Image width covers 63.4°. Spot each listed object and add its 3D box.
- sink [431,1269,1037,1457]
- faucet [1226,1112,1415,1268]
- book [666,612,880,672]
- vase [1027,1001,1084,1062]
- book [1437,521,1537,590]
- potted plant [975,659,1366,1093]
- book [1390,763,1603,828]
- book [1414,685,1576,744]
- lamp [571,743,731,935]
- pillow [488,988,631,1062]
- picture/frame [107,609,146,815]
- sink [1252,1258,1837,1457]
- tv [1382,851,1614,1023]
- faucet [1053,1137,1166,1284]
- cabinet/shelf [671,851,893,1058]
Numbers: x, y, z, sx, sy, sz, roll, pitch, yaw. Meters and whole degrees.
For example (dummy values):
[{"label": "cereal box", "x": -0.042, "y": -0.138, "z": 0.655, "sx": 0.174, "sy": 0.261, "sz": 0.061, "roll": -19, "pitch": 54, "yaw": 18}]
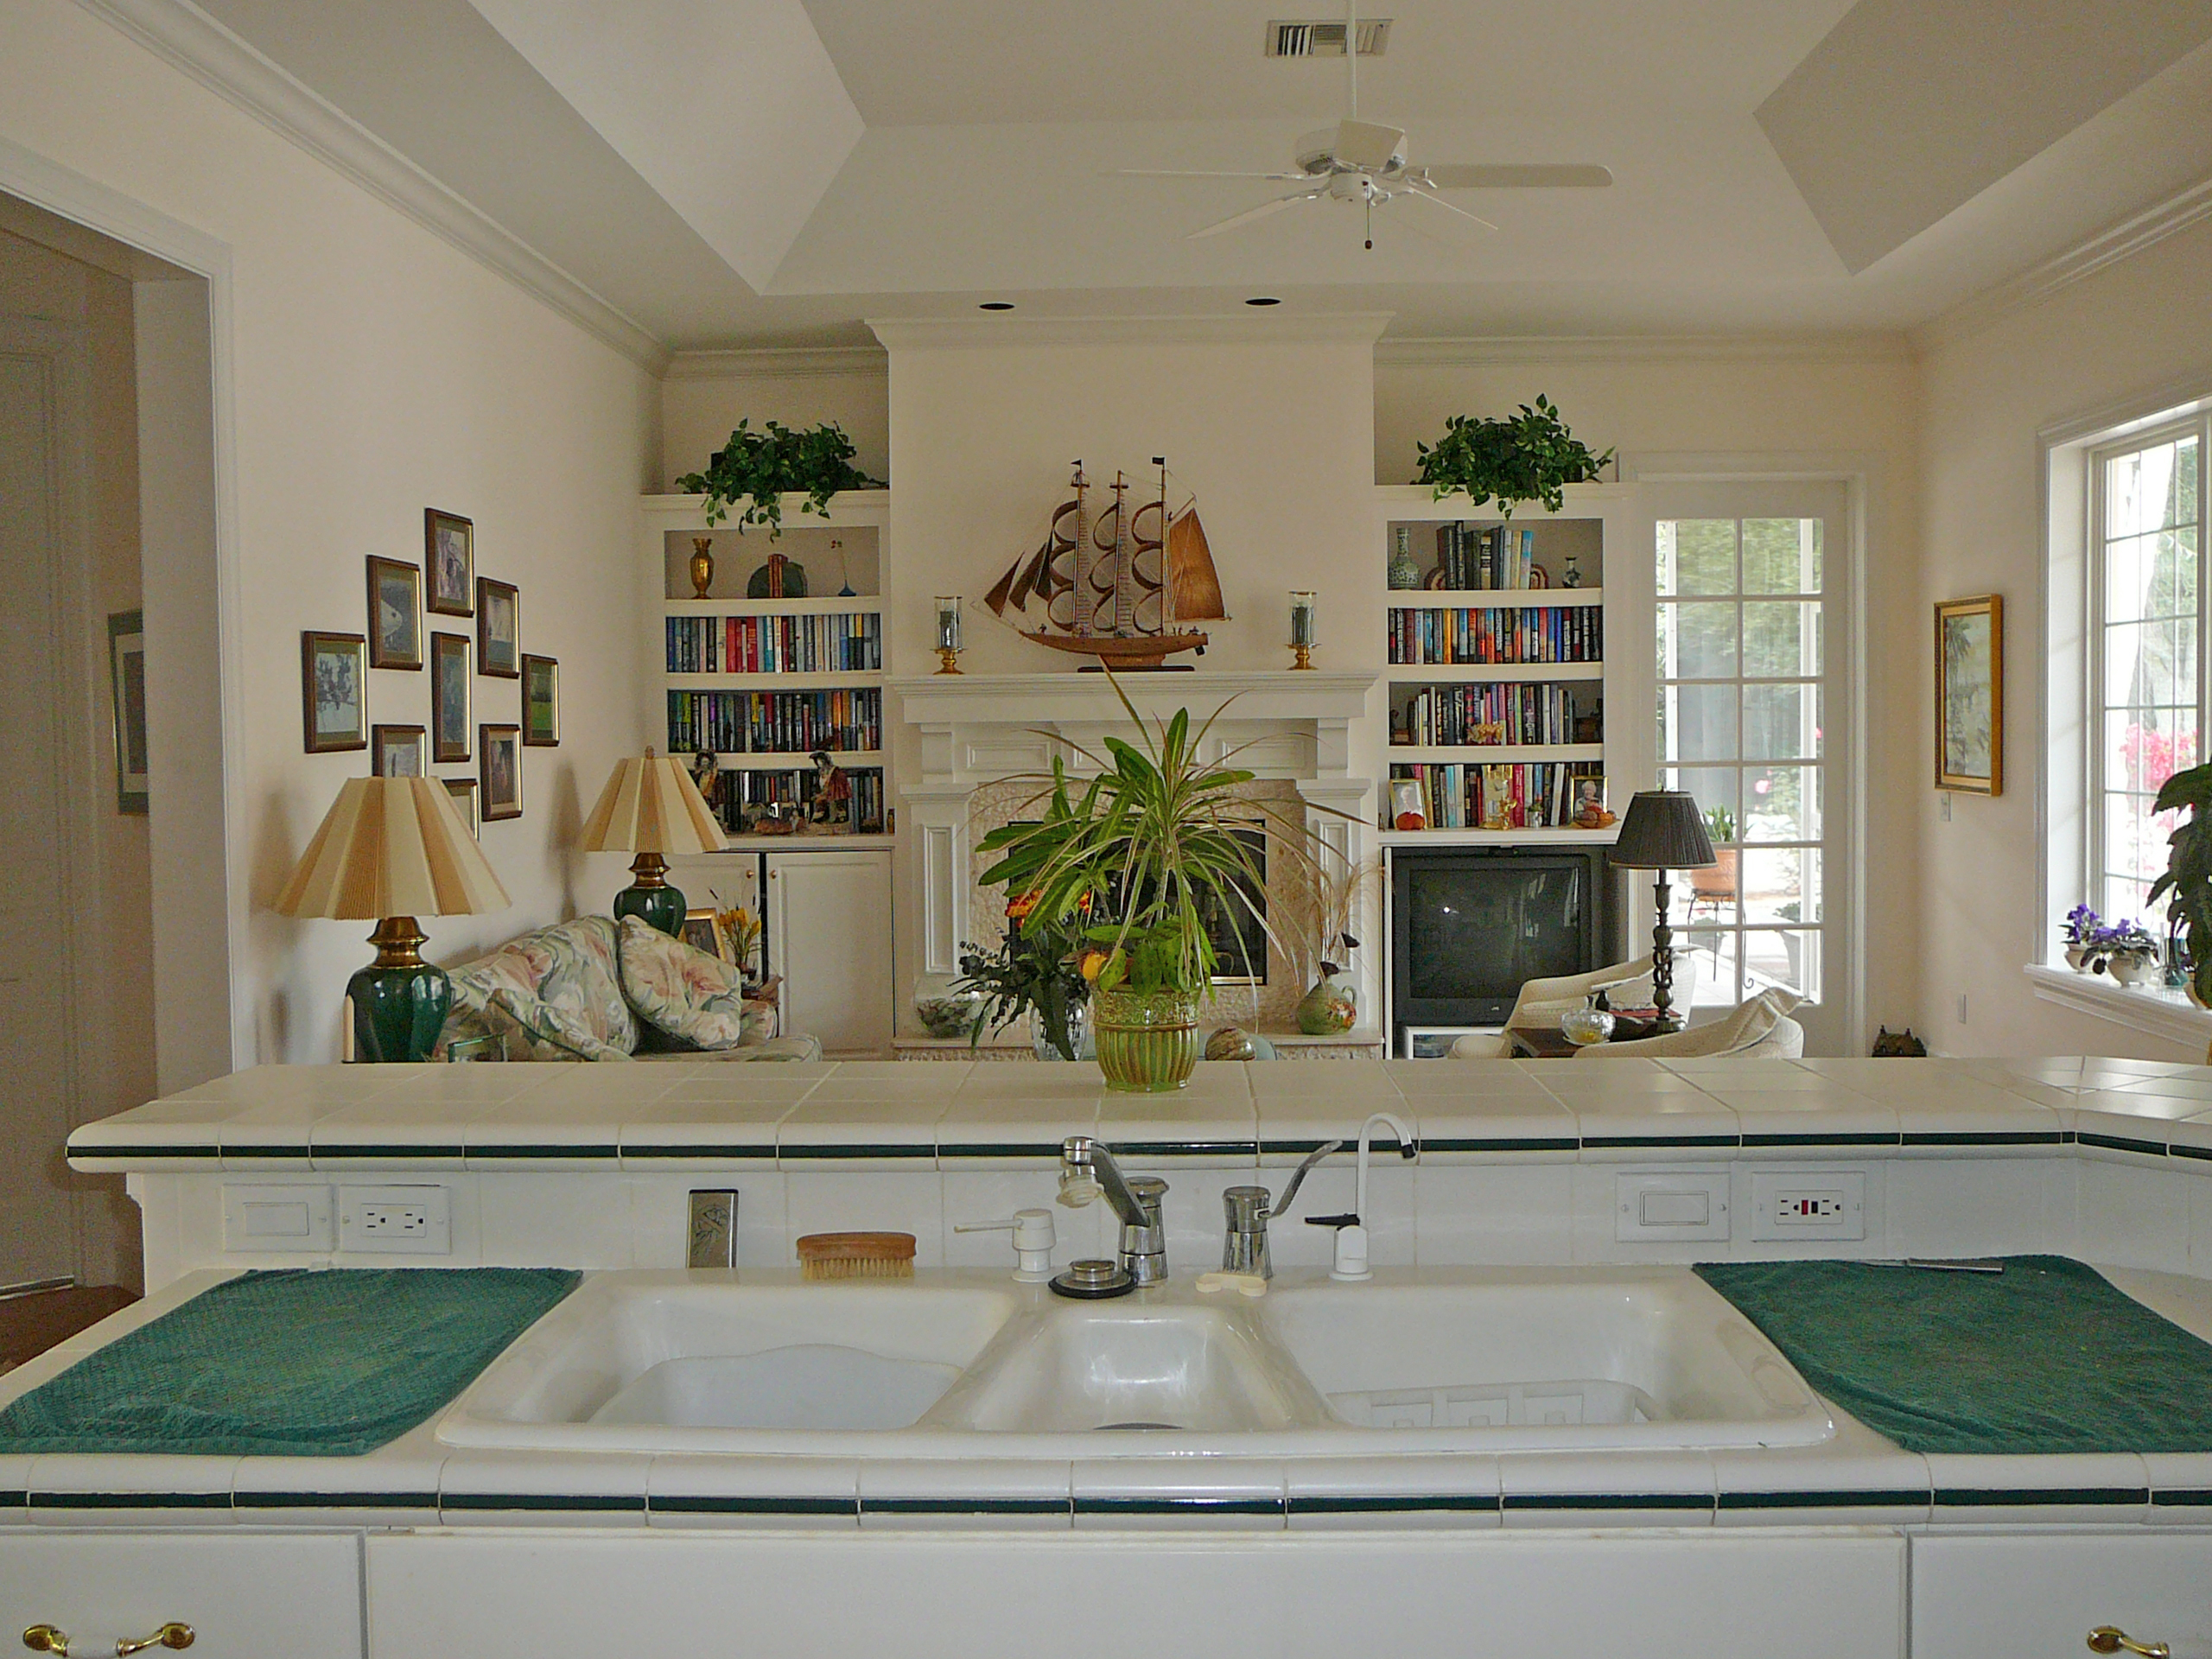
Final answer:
[{"label": "sink", "x": -0.507, "y": 0.817, "z": 2.576, "sx": 0.757, "sy": 0.225, "sz": 0.472, "roll": -1, "pitch": 3, "yaw": 2}, {"label": "faucet", "x": 0.339, "y": 0.580, "z": 2.795, "sx": 0.308, "sy": 0.255, "sz": 0.114, "roll": -5, "pitch": -23, "yaw": 14}, {"label": "book", "x": -1.427, "y": -0.774, "z": 7.740, "sx": 0.930, "sy": 0.241, "sz": 0.101, "roll": -1, "pitch": 2, "yaw": 9}, {"label": "vase", "x": -0.099, "y": 0.505, "z": 4.412, "sx": 0.144, "sy": 0.162, "sz": 0.152, "roll": 0, "pitch": -9, "yaw": 3}, {"label": "book", "x": 1.676, "y": -1.087, "z": 7.800, "sx": 0.368, "sy": 0.374, "sz": 0.282, "roll": 0, "pitch": -2, "yaw": -1}, {"label": "potted plant", "x": 0.052, "y": 0.108, "z": 3.122, "sx": 0.581, "sy": 0.660, "sz": 0.563, "roll": -1, "pitch": 1, "yaw": -18}, {"label": "book", "x": 1.724, "y": -0.130, "z": 7.773, "sx": 0.879, "sy": 0.280, "sz": 0.220, "roll": -1, "pitch": 3, "yaw": 13}, {"label": "book", "x": 1.711, "y": -0.470, "z": 7.765, "sx": 0.777, "sy": 0.259, "sz": 0.183, "roll": -2, "pitch": 2, "yaw": -12}, {"label": "lamp", "x": -1.655, "y": 0.118, "z": 6.589, "sx": 0.491, "sy": 0.737, "sz": 0.518, "roll": 0, "pitch": 1, "yaw": -5}, {"label": "pillow", "x": -1.642, "y": 0.616, "z": 5.345, "sx": 0.326, "sy": 0.134, "sz": 0.253, "roll": 3, "pitch": 0, "yaw": -7}, {"label": "picture/frame", "x": -2.966, "y": -0.285, "z": 5.396, "sx": 0.030, "sy": 0.469, "sz": 0.412, "roll": -7, "pitch": -3, "yaw": -28}, {"label": "sink", "x": 0.611, "y": 0.812, "z": 2.543, "sx": 0.712, "sy": 0.220, "sz": 0.472, "roll": -1, "pitch": 3, "yaw": -4}, {"label": "tv", "x": 1.701, "y": 0.493, "z": 7.949, "sx": 1.035, "sy": 0.973, "sz": 0.570, "roll": -2, "pitch": 9, "yaw": -3}, {"label": "faucet", "x": 0.020, "y": 0.576, "z": 2.745, "sx": 0.138, "sy": 0.247, "sz": 0.203, "roll": -1, "pitch": 3, "yaw": 12}, {"label": "cabinet/shelf", "x": -1.317, "y": 0.483, "z": 7.297, "sx": 0.847, "sy": 0.847, "sz": 0.309, "roll": 0, "pitch": -4, "yaw": 1}]
